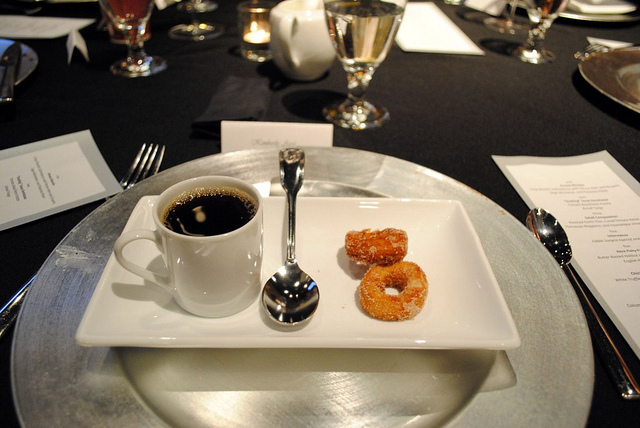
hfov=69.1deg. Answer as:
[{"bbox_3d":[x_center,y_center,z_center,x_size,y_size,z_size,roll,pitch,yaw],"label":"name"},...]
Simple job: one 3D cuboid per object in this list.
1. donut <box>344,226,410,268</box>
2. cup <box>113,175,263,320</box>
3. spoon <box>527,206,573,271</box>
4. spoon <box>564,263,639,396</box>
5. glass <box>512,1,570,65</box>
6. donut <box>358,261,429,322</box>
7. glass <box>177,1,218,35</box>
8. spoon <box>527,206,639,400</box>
[{"bbox_3d":[0.137,0.077,1.126,0.131,0.049,0.098,-11,27,-2],"label":"donut"},{"bbox_3d":[-0.235,0.063,1.130,0.404,0.289,0.257,-14,44,-29],"label":"cup"},{"bbox_3d":[0.633,0.064,1.302,0.061,0.024,0.208,-9,45,1],"label":"spoon"},{"bbox_3d":[0.654,0.282,1.084,0.033,0.016,0.313,-9,56,-16],"label":"spoon"},{"bbox_3d":[0.975,-0.807,2.056,0.204,0.269,0.212,16,56,11],"label":"glass"},{"bbox_3d":[0.168,0.187,1.110,0.158,0.085,0.151,-1,55,-1],"label":"donut"},{"bbox_3d":[-0.614,-0.973,2.319,0.215,0.142,0.207,5,43,-2],"label":"glass"},{"bbox_3d":[0.632,0.203,1.231,0.102,0.062,0.539,-3,48,-6],"label":"spoon"}]
